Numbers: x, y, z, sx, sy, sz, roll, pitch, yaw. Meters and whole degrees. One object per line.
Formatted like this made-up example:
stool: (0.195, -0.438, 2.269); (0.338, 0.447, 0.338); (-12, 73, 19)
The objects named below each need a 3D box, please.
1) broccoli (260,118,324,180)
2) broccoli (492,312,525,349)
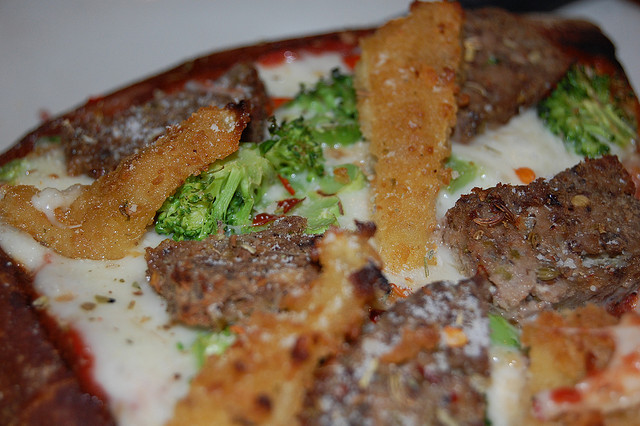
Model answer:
broccoli: (-0.127, -0.318, 3.020); (0.193, 0.276, 0.277); (-21, 112, -37)
broccoli: (0.751, 0.479, 2.478); (0.127, 0.121, 0.137); (6, 74, 0)
